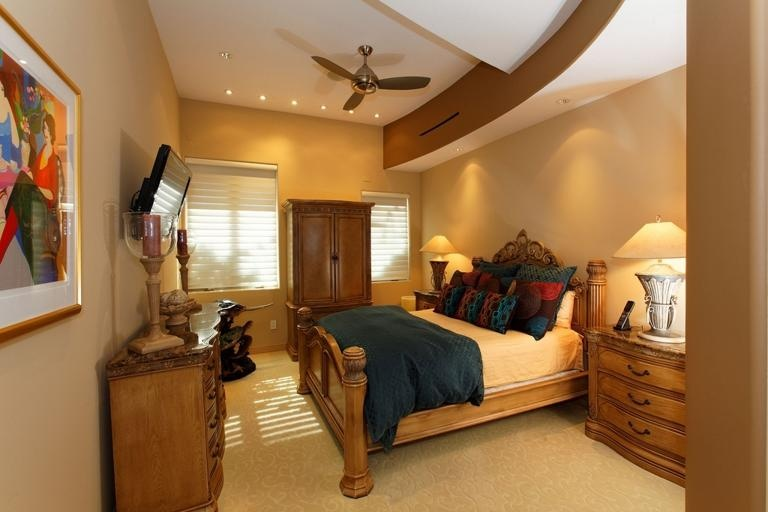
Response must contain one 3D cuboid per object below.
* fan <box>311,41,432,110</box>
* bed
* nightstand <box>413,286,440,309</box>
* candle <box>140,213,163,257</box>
[{"bbox_3d":[-0.148,-1.757,4.884,1.001,0.460,1.036,0,2,-9],"label":"fan"},{"bbox_3d":[0.564,0.710,4.662,2.249,1.609,1.842,-3,3,-21],"label":"bed"},{"bbox_3d":[0.528,0.434,6.306,0.210,0.459,0.498,1,1,-11],"label":"nightstand"},{"bbox_3d":[-1.481,-0.128,3.264,0.109,0.273,0.069,0,2,-23],"label":"candle"}]
